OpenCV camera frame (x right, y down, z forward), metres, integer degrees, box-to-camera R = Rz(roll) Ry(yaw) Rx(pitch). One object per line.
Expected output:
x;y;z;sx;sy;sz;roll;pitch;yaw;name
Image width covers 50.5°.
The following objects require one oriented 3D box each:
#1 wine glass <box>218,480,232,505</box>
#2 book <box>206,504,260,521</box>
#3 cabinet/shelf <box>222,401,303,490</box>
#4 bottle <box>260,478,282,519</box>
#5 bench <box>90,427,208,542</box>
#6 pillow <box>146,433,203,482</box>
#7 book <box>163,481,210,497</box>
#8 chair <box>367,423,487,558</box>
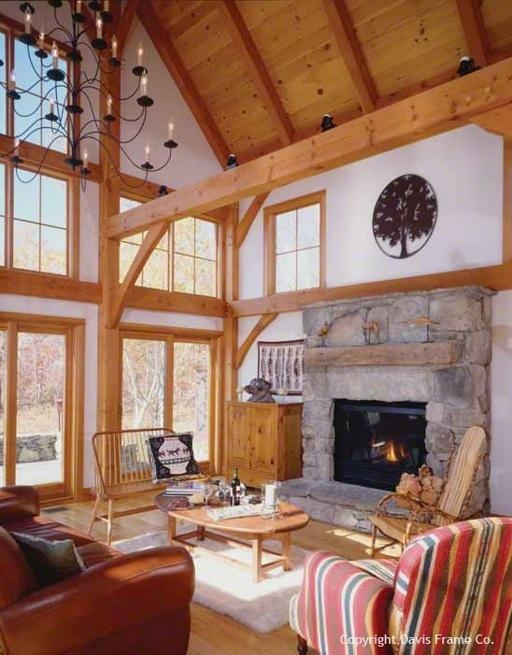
-0.232;1.212;3.900;0.102;0.114;0.102;-1;-5;19;wine glass
-0.145;1.185;3.472;0.435;0.026;0.239;4;-5;-38;book
0.090;1.326;6.348;0.840;0.898;0.511;-2;-4;43;cabinet/shelf
0.093;1.108;3.500;0.166;0.254;0.151;1;-1;0;bottle
-0.961;1.397;4.943;0.440;0.858;1.237;-5;-9;37;bench
-0.702;1.099;4.579;0.355;0.348;0.084;0;-28;-42;pillow
-0.507;1.170;3.922;0.229;0.053;0.220;0;-2;8;book
1.200;1.226;3.809;0.733;1.057;0.675;4;-6;19;chair
